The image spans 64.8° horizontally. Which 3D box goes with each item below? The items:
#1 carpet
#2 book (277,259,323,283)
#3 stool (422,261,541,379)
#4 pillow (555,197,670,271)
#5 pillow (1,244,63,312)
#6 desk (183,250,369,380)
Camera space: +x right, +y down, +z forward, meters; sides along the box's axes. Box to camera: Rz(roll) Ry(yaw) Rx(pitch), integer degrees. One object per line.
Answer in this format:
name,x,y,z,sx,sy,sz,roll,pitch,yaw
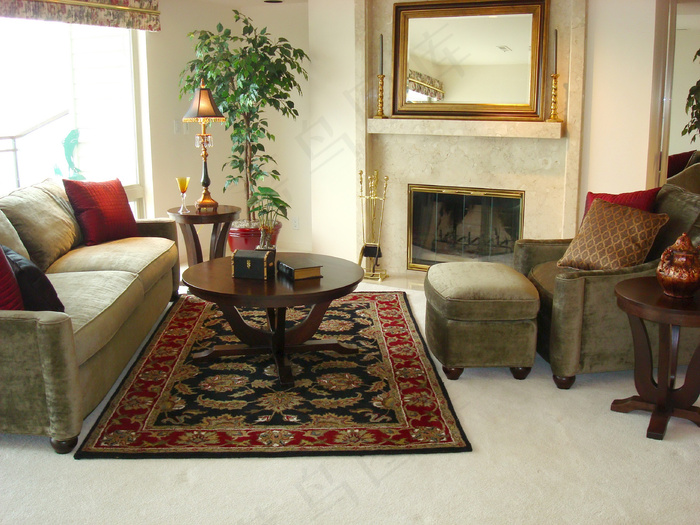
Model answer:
carpet,-0.414,0.634,3.522,1.972,0.140,1.906,-1,14,-1
book,-0.312,0.044,3.380,0.262,0.079,0.275,-4,14,-14
stool,0.750,0.323,3.559,0.699,0.544,0.850,-1,12,-1
pillow,1.627,-0.151,3.440,0.510,0.454,0.154,21,-12,46
pillow,-1.716,0.094,2.962,0.130,0.219,0.336,-16,33,-37
desk,-0.475,0.175,3.481,0.955,0.402,0.866,-1,19,-3
